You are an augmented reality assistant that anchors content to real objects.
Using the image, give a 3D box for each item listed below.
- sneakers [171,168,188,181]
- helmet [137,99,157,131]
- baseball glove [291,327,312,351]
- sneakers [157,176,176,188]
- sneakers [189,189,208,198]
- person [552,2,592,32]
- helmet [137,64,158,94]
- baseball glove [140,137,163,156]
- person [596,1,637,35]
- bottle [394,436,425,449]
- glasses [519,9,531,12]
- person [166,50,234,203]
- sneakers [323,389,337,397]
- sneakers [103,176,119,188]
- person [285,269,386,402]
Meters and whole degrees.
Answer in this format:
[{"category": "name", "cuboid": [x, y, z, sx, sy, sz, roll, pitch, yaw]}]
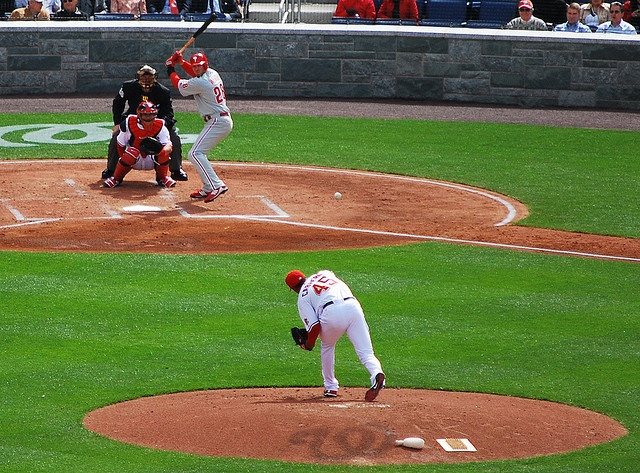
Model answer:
[{"category": "sneakers", "cuboid": [-2.968, -1.326, 25.606, 0.351, 0.143, 0.205, 1, 6, 45]}, {"category": "helmet", "cuboid": [-3.463, -2.490, 24.208, 0.483, 0.518, 0.533, -1, 9, -10]}, {"category": "baseball glove", "cuboid": [-0.270, 1.407, 16.893, 0.194, 0.310, 0.235, -34, 19, -13]}, {"category": "sneakers", "cuboid": [-3.171, -1.159, 25.015, 0.367, 0.153, 0.184, -3, 19, -2]}, {"category": "sneakers", "cuboid": [-2.402, -0.874, 24.107, 0.440, 0.156, 0.140, 1, 37, 4]}, {"category": "person", "cuboid": [7.308, -6.382, 34.858, 1.444, 0.801, 0.644, 2, -3, 14]}, {"category": "helmet", "cuboid": [-3.554, -3.311, 24.848, 0.455, 0.460, 0.522, -2, 14, -7]}, {"category": "baseball glove", "cuboid": [-3.367, -1.837, 24.119, 0.426, 0.272, 0.313, -3, -18, 24]}, {"category": "person", "cuboid": [8.478, -6.285, 34.489, 1.464, 1.013, 0.644, 2, -5, 17]}, {"category": "bottle", "cuboid": [1.209, 2.699, 15.777, 0.333, 0.117, 0.141, 1, -27, 2]}, {"category": "glasses", "cuboid": [5.879, -6.553, 34.548, 0.330, 0.110, 0.109, 7, 13, 36]}, {"category": "person", "cuboid": [-2.308, -2.161, 23.707, 1.130, 2.954, 1.013, -1, 12, -4]}, {"category": "sneakers", "cuboid": [0.160, 2.217, 17.053, 0.194, 0.107, 0.076, -5, 14, -21]}, {"category": "sneakers", "cuboid": [-4.259, -1.135, 24.611, 0.314, 0.124, 0.183, 6, -8, -35]}, {"category": "person", "cuboid": [0.258, 1.413, 16.858, 1.224, 1.760, 0.636, 2, 12, 9]}]
